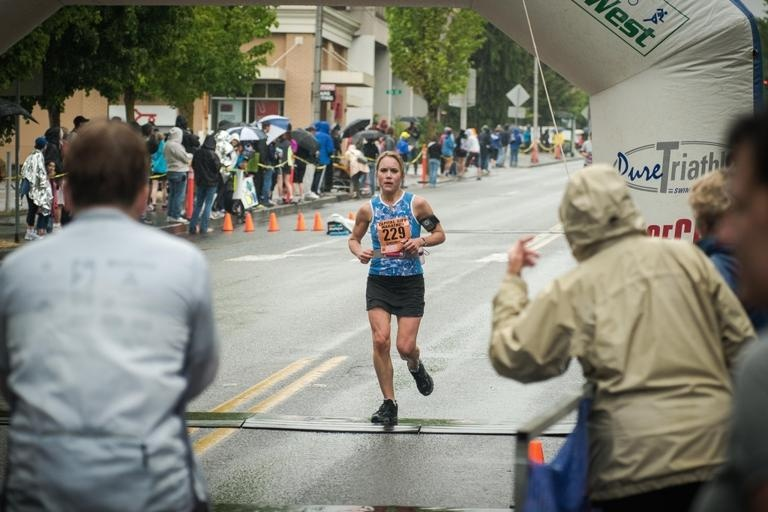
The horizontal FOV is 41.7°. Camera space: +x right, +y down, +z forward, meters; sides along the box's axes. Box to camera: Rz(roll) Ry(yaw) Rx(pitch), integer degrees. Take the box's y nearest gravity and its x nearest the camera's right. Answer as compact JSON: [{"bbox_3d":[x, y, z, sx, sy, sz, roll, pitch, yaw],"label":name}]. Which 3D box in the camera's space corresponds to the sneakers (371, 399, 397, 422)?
[{"bbox_3d":[0.005,1.271,8.244,0.225,0.202,0.186,-2,8,-7],"label":"sneakers"}]

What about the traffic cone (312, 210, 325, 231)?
[{"bbox_3d":[-1.428,-0.751,21.726,0.426,0.458,0.423,0,-1,-3],"label":"traffic cone"}]

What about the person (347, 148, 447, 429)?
[{"bbox_3d":[0.124,0.352,8.467,0.759,1.955,0.898,-1,8,3],"label":"person"}]
